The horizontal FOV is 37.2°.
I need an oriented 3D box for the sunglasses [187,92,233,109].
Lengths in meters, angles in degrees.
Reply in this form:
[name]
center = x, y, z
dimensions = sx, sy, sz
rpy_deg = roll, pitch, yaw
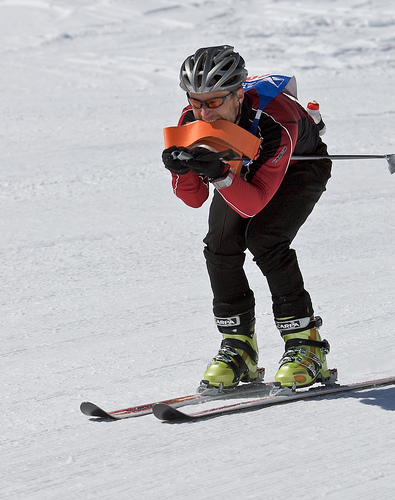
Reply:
[sunglasses]
center = 0.044, -0.638, 2.544
dimensions = 0.113, 0.029, 0.103
rpy_deg = 5, 27, 30

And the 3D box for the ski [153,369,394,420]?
[ski]
center = 0.360, 0.668, 2.684
dimensions = 1.483, 0.084, 0.158
rpy_deg = -2, 2, -38

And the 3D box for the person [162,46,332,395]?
[person]
center = 0.235, -0.115, 2.832
dimensions = 0.635, 1.675, 1.033
rpy_deg = -2, 8, 25
